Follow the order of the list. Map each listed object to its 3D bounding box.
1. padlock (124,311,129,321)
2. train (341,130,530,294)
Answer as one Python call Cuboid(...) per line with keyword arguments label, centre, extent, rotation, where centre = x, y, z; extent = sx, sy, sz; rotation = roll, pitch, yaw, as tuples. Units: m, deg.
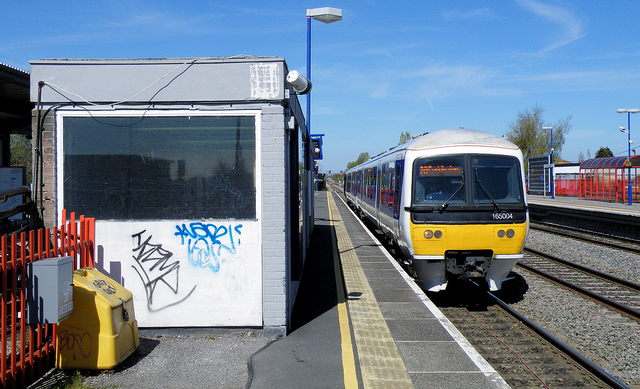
Cuboid(label="padlock", centre=(-3.665, 2.326, 9.437), extent=(0.040, 0.195, 0.096), rotation=(6, 13, 21))
Cuboid(label="train", centre=(3.323, 0.318, 14.669), extent=(2.850, 4.740, 6.063), rotation=(0, 13, -3))
